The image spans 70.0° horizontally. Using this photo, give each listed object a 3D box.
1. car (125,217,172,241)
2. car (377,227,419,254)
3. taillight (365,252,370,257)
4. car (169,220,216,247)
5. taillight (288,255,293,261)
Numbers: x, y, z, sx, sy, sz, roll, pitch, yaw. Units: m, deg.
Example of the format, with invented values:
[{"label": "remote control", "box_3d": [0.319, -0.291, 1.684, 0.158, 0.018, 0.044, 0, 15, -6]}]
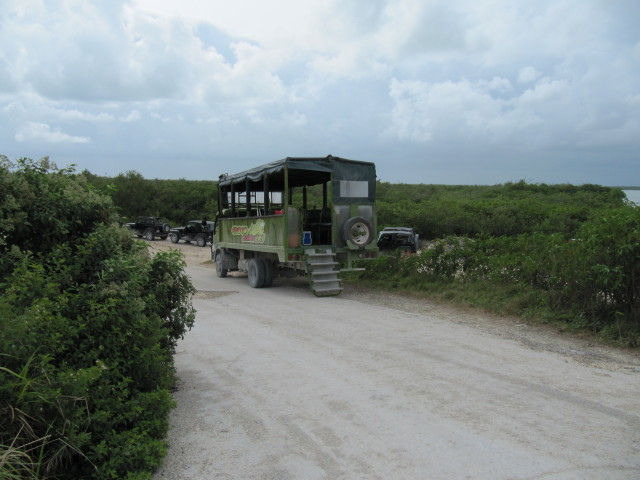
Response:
[{"label": "car", "box_3d": [-10.946, -0.694, 29.778, 2.497, 1.265, 1.431, 13, 10, 28]}, {"label": "car", "box_3d": [3.665, -0.099, 21.495, 1.207, 0.950, 2.100, 2, 10, 11]}, {"label": "taillight", "box_3d": [1.406, 0.451, 13.730, 0.165, 0.133, 0.096, 2, 8, 5]}, {"label": "car", "box_3d": [-8.785, -0.349, 31.635, 2.745, 1.412, 1.660, 7, 6, 33]}, {"label": "taillight", "box_3d": [-0.852, 0.524, 13.034, 0.143, 0.155, 0.034, 1, -2, -21]}]
